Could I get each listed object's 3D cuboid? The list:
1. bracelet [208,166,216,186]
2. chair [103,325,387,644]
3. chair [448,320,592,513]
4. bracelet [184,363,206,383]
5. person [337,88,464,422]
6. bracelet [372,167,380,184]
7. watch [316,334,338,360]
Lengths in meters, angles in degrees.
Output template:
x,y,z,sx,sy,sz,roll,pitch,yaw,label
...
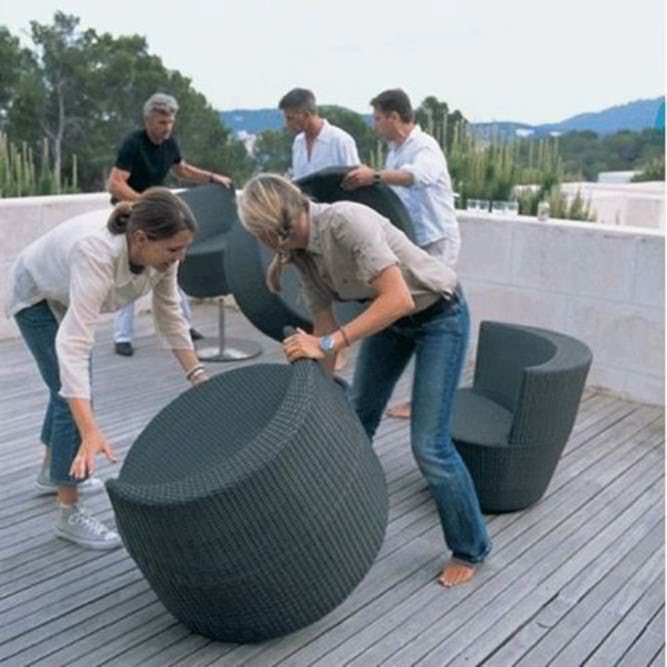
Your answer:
x,y,z,sx,sy,sz,roll,pitch,yaw,label
-0.819,-1.070,4.257,0.042,0.069,0.020,-13,15,-33,bracelet
-0.066,0.435,1.704,0.440,0.359,0.601,-40,5,3,chair
0.650,0.336,2.395,0.442,0.647,0.578,5,16,3,chair
-0.440,0.141,2.013,0.051,0.066,0.048,27,14,-25,bracelet
0.332,-0.395,3.273,0.565,1.751,0.663,0,6,22,person
0.212,-0.760,3.022,0.028,0.057,0.050,3,-8,7,bracelet
-0.011,0.028,1.600,0.034,0.068,0.056,-12,-25,8,watch
